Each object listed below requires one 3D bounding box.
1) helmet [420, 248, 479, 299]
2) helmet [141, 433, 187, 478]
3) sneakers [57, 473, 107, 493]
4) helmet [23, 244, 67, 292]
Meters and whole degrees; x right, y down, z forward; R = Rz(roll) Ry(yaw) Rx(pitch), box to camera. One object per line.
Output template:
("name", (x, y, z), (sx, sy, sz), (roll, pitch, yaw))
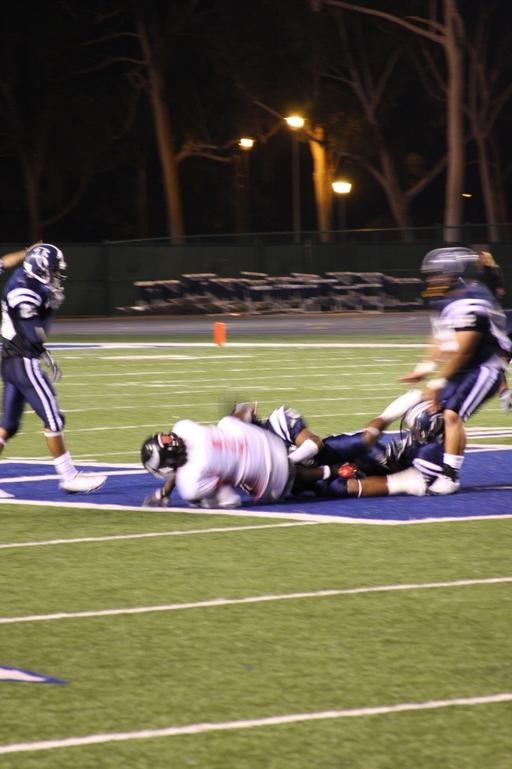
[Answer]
("helmet", (1.408, -0.831, 6.878), (0.524, 0.402, 0.354), (-6, 7, -19))
("helmet", (-0.600, 0.467, 5.888), (0.337, 0.222, 0.291), (1, -38, -4))
("sneakers", (-1.293, 0.753, 6.849), (0.425, 0.132, 0.179), (-4, -25, -1))
("helmet", (-1.559, -0.870, 6.696), (0.293, 0.343, 0.292), (-2, 6, -14))
